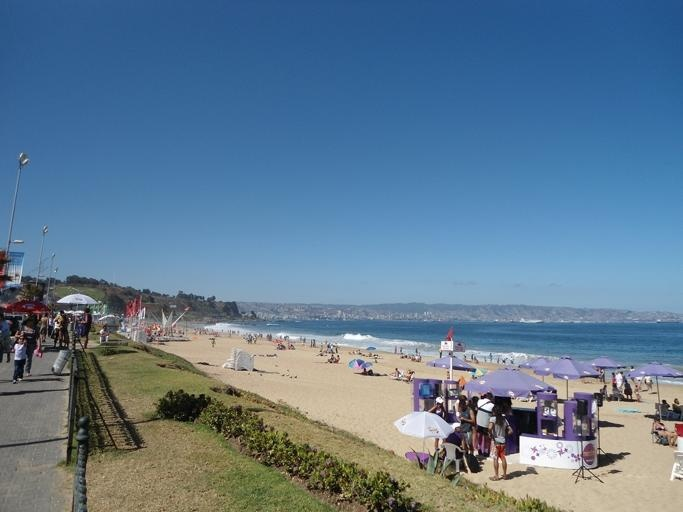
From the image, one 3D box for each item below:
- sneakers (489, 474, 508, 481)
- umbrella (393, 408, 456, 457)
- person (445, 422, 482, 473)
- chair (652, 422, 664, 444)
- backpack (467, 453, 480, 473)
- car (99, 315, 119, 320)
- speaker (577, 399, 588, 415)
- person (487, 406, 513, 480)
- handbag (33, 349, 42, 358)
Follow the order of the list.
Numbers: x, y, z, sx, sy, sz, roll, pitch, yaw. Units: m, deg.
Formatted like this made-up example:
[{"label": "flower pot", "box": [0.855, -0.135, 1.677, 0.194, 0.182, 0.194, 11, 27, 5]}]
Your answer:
[{"label": "sneakers", "box": [5.032, 7.130, 14.248, 0.589, 0.219, 0.204, 2, -15, 5]}, {"label": "umbrella", "box": [2.635, 5.360, 14.063, 1.674, 0.702, 0.977, 1, -8, 13]}, {"label": "person", "box": [4.296, 6.913, 15.736, 0.808, 1.281, 0.985, 1, -35, 34]}, {"label": "chair", "box": [13.662, 7.641, 19.130, 0.425, 0.806, 0.323, -2, -9, 33]}, {"label": "backpack", "box": [4.544, 7.152, 15.295, 0.401, 0.397, 0.108, 4, -40, -46]}, {"label": "car", "box": [-33.119, 8.869, 63.438, 2.346, 0.722, 2.246, 2, -3, -5]}, {"label": "speaker", "box": [7.705, 4.847, 14.232, 0.261, 0.454, 0.339, 0, -8, 24]}, {"label": "person", "box": [5.257, 6.077, 14.616, 0.599, 2.225, 1.133, 0, -8, 19]}, {"label": "handbag", "box": [-14.913, 4.831, 21.936, 0.666, 0.628, 0.199, -2, -2, 31]}]
